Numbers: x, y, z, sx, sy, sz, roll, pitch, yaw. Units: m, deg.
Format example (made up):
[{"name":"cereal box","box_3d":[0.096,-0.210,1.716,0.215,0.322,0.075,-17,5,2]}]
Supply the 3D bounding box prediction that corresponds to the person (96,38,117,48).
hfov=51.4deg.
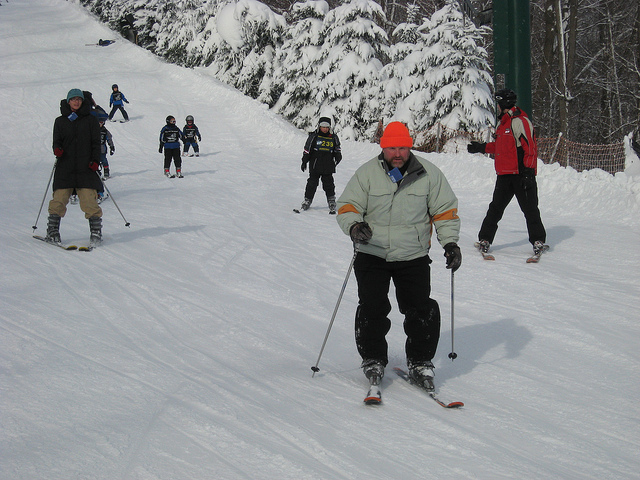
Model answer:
[{"name":"person","box_3d":[-10.978,-10.005,33.986,0.759,0.349,0.758,11,22,30]}]

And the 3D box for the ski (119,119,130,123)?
[{"name":"ski","box_3d":[-6.626,-3.973,22.347,0.269,0.043,0.156,-2,2,-5]}]

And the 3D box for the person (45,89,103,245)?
[{"name":"person","box_3d":[-3.492,-1.041,9.439,0.824,2.154,0.655,1,5,-18]}]

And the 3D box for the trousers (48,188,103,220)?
[{"name":"trousers","box_3d":[-3.727,-0.530,10.071,0.675,0.586,0.237,-2,8,-28]}]

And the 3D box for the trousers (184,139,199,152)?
[{"name":"trousers","box_3d":[-3.775,-2.720,19.268,0.481,0.417,0.165,-1,9,-11]}]

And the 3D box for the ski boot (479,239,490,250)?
[{"name":"ski boot","box_3d":[2.519,0.073,10.186,0.122,0.159,0.068,7,-27,30]}]

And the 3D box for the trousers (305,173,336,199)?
[{"name":"trousers","box_3d":[-0.010,-1.064,13.422,0.736,0.717,0.256,0,35,-5]}]

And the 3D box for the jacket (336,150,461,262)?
[{"name":"jacket","box_3d":[0.724,-0.293,6.184,1.214,0.987,0.670,1,13,-11]}]

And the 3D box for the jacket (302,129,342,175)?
[{"name":"jacket","box_3d":[0.005,-1.671,12.791,0.712,0.842,0.419,0,15,-2]}]

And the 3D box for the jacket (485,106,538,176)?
[{"name":"jacket","box_3d":[2.857,-1.442,9.770,0.558,0.995,1.107,-11,14,-23]}]

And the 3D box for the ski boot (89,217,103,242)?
[{"name":"ski boot","box_3d":[-3.283,-0.145,9.647,0.150,0.348,0.174,-4,16,-17]}]

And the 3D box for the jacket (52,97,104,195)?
[{"name":"jacket","box_3d":[-3.489,-1.296,9.446,0.679,1.324,0.608,-4,16,-18]}]

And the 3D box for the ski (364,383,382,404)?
[{"name":"ski","box_3d":[0.481,1.401,6.046,0.160,0.135,0.167,2,15,4]}]

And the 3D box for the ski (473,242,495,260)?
[{"name":"ski","box_3d":[2.501,0.176,10.161,0.121,0.154,0.379,-4,22,-9]}]

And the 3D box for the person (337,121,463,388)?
[{"name":"person","box_3d":[0.724,0.139,6.171,1.126,2.400,0.659,1,15,1]}]

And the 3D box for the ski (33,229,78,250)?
[{"name":"ski","box_3d":[-3.879,0.002,9.632,0.430,0.160,0.126,21,24,19]}]

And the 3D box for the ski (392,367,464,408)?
[{"name":"ski","box_3d":[1.006,1.410,6.316,0.114,0.085,0.772,-5,20,-28]}]

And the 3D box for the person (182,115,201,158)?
[{"name":"person","box_3d":[-3.786,-2.966,19.234,0.495,1.130,1.869,-2,15,-11]}]

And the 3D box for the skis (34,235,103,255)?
[{"name":"skis","box_3d":[-3.607,0.079,9.432,0.915,0.075,0.101,11,21,25]}]

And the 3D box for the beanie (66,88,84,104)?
[{"name":"beanie","box_3d":[-3.432,-1.981,9.220,0.154,0.151,0.210,-7,6,-2]}]

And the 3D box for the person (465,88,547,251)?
[{"name":"person","box_3d":[2.779,-0.948,9.705,1.039,2.379,0.503,10,18,31]}]

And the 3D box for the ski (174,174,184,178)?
[{"name":"ski","box_3d":[-3.490,-1.542,16.291,0.234,0.097,0.079,14,30,31]}]

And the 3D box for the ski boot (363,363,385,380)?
[{"name":"ski boot","box_3d":[0.496,1.210,6.174,0.192,0.093,0.250,1,2,7]}]

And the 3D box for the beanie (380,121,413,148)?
[{"name":"beanie","box_3d":[0.684,-0.945,6.067,0.264,0.192,0.261,3,13,22]}]

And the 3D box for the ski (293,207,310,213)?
[{"name":"ski","box_3d":[-0.402,-0.574,13.080,0.091,0.067,0.314,14,19,39]}]

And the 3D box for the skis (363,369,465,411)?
[{"name":"skis","box_3d":[0.852,1.414,6.234,0.123,0.115,1.108,-21,20,-20]}]

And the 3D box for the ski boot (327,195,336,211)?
[{"name":"ski boot","box_3d":[0.219,-0.722,13.160,0.228,0.310,0.230,3,13,18]}]

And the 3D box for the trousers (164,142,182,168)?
[{"name":"trousers","box_3d":[-3.658,-2.056,16.274,0.389,0.596,0.446,-3,16,-13]}]
